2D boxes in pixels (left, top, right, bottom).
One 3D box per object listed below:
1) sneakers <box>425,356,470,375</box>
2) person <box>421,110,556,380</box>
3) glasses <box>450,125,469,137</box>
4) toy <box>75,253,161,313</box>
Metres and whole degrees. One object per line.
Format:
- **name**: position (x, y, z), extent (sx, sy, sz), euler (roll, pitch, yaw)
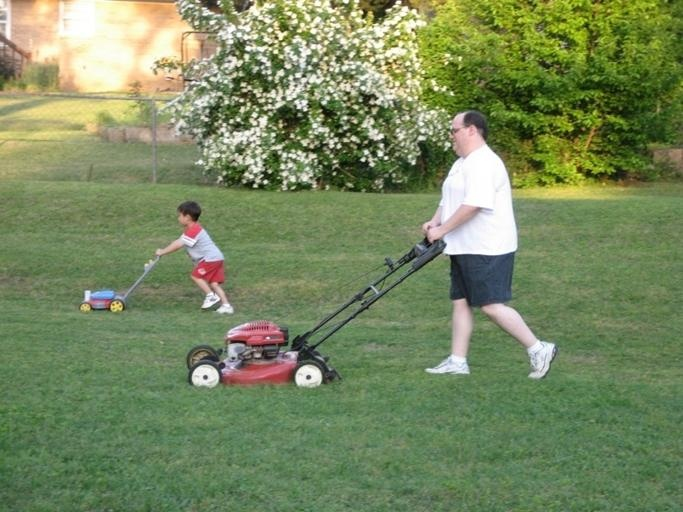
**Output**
- **sneakers**: position (0.959, 0.978, 8.012), extent (0.461, 0.148, 0.147), euler (0, -6, 6)
- **person**: position (1.245, -0.102, 7.834), extent (1.136, 2.312, 0.576), euler (2, 6, 16)
- **glasses**: position (1.014, -1.082, 7.815), extent (0.103, 0.025, 0.091), euler (-18, -8, -5)
- **toy**: position (-2.453, 0.324, 10.066), extent (0.938, 0.494, 0.335), euler (-6, 5, -9)
